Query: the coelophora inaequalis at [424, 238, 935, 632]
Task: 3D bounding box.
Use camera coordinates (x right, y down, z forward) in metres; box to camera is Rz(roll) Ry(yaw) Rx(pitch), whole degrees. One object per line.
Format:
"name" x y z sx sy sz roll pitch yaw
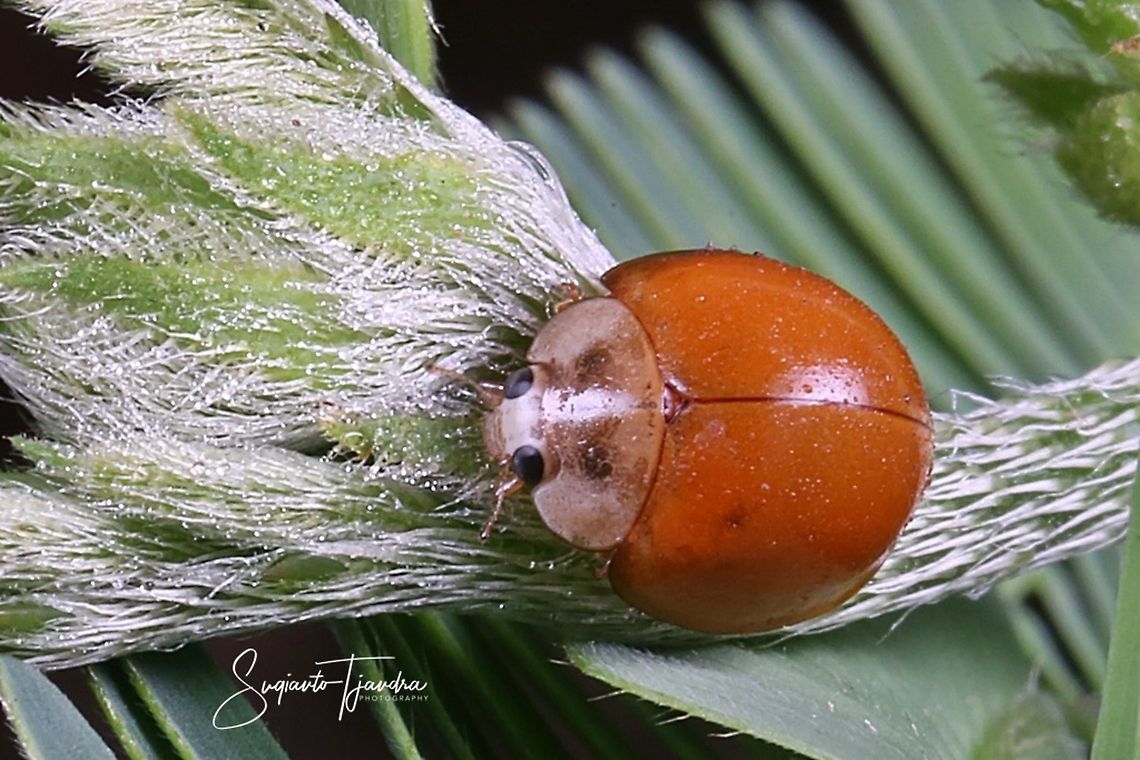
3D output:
"coelophora inaequalis" 0.058 0.027 0.765 0.285 0.204 0.300 -5 91 -13
